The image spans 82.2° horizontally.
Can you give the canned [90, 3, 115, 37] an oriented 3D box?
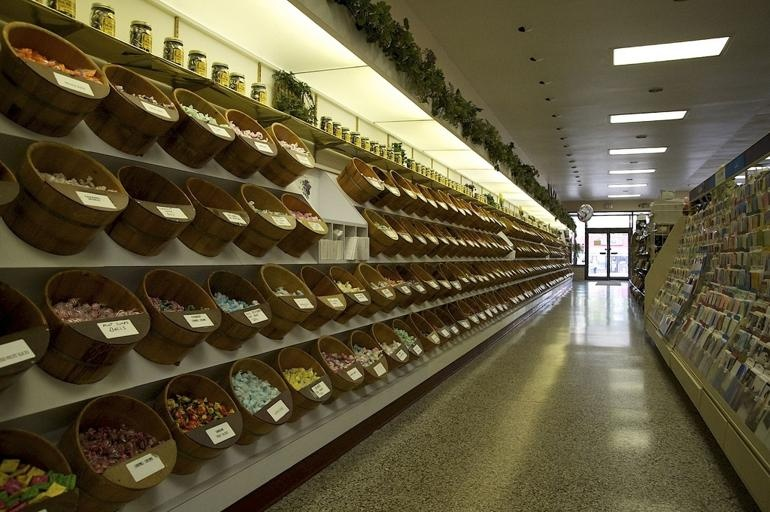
[{"bbox_3d":[-1.496,-1.234,2.339,0.109,0.179,0.221,-1,1,-33],"label":"canned"}]
